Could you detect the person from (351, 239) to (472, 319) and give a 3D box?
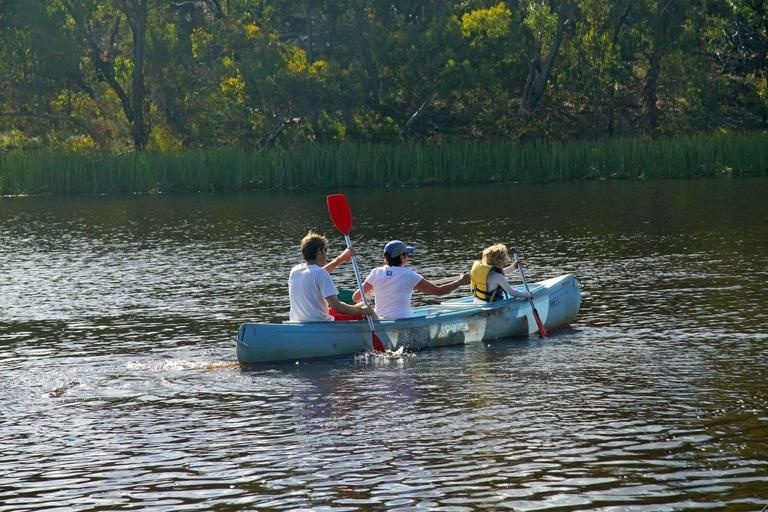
[{"bbox_3d":[0.469,0.440,20.793,1.236,1.338,0.575,8,18,24],"label":"person"}]

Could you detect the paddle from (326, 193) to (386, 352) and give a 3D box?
[{"bbox_3d":[-0.539,0.331,21.735,0.395,3.377,0.136,-20,1,-31],"label":"paddle"}]

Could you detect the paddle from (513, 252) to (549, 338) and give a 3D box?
[{"bbox_3d":[2.424,0.696,20.243,0.091,1.583,0.113,-20,-20,-12],"label":"paddle"}]

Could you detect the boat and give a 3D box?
[{"bbox_3d":[0.171,1.121,18.983,6.896,1.111,1.731,-6,2,-23],"label":"boat"}]

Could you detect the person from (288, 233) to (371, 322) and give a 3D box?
[{"bbox_3d":[-0.922,0.403,20.096,1.090,1.688,1.069,20,28,40],"label":"person"}]

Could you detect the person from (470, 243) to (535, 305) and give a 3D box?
[{"bbox_3d":[1.980,0.334,20.480,0.657,1.052,0.584,-22,38,-27],"label":"person"}]

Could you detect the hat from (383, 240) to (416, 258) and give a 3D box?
[{"bbox_3d":[0.244,-0.097,18.790,0.430,0.163,0.265,-7,15,-36],"label":"hat"}]
